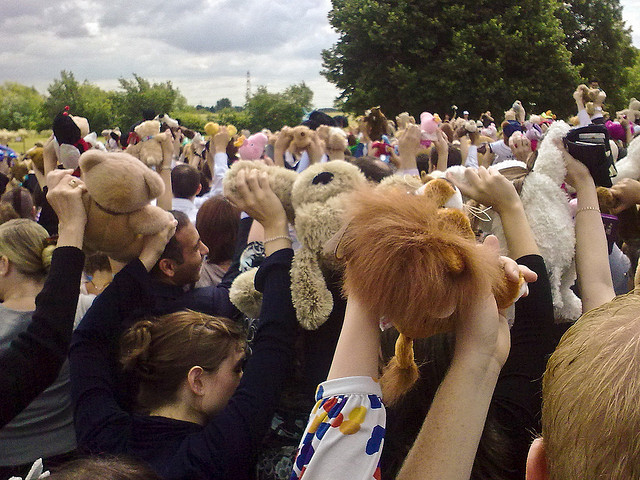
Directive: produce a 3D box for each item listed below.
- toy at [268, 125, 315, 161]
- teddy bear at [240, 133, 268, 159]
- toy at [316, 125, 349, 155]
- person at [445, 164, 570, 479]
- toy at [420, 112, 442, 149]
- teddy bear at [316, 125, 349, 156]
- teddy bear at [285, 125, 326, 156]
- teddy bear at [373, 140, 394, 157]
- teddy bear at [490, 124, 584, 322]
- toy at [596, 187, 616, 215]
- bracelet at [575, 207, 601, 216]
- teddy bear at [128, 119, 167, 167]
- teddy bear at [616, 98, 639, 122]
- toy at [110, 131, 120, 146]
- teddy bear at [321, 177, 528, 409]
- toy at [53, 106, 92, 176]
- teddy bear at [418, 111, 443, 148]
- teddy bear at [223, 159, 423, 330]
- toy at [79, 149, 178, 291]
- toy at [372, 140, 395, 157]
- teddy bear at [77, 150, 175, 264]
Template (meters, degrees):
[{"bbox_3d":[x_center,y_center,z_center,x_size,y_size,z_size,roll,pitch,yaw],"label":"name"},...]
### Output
[{"bbox_3d":[-0.114,-0.614,3.438,0.284,0.210,0.424,8,17,10],"label":"toy"},{"bbox_3d":[-0.553,-0.804,4.681,0.232,0.224,0.091,-45,22,-9],"label":"teddy bear"},{"bbox_3d":[0.107,-0.753,4.186,0.188,0.174,0.461,11,12,-2],"label":"toy"},{"bbox_3d":[0.686,0.365,2.111,0.363,1.417,0.381,-11,-14,36],"label":"person"},{"bbox_3d":[1.230,-1.364,6.343,0.210,0.163,0.322,-18,48,9],"label":"toy"},{"bbox_3d":[0.097,-0.750,4.200,0.195,0.170,0.480,11,11,1],"label":"teddy bear"},{"bbox_3d":[-0.102,-0.615,3.416,0.181,0.126,0.287,39,28,16],"label":"teddy bear"},{"bbox_3d":[0.631,-0.923,5.590,0.145,0.141,0.249,-6,13,-12],"label":"teddy bear"},{"bbox_3d":[0.976,-0.081,2.612,0.494,0.936,0.407,-4,-8,7],"label":"teddy bear"},{"bbox_3d":[1.511,-0.213,2.915,0.106,0.133,0.077,1,13,17],"label":"toy"},{"bbox_3d":[1.137,-0.126,2.349,0.087,0.038,0.066,4,15,26],"label":"bracelet"},{"bbox_3d":[-1.237,-0.672,3.952,0.272,0.342,0.430,-3,28,-15],"label":"teddy bear"},{"bbox_3d":[4.437,-1.850,7.878,0.201,0.310,1.514,4,15,29],"label":"teddy bear"},{"bbox_3d":[-3.282,-1.647,8.896,0.088,0.219,0.422,-8,14,-25],"label":"toy"},{"bbox_3d":[0.395,0.117,1.901,0.637,0.777,0.499,23,21,33],"label":"teddy bear"},{"bbox_3d":[-1.397,-0.500,3.150,0.226,0.505,0.173,-1,8,-8],"label":"toy"},{"bbox_3d":[1.225,-1.306,6.347,0.208,0.156,0.284,-13,-2,-21],"label":"teddy bear"},{"bbox_3d":[-0.033,-0.030,2.076,0.639,0.713,0.319,-25,-37,22],"label":"teddy bear"},{"bbox_3d":[-0.925,-0.090,2.506,0.390,0.682,0.313,22,34,-1],"label":"toy"},{"bbox_3d":[0.633,-0.933,5.600,0.172,0.062,0.193,6,33,-3],"label":"toy"},{"bbox_3d":[-0.900,-0.136,2.460,0.422,0.533,0.301,15,29,-20],"label":"teddy bear"}]
